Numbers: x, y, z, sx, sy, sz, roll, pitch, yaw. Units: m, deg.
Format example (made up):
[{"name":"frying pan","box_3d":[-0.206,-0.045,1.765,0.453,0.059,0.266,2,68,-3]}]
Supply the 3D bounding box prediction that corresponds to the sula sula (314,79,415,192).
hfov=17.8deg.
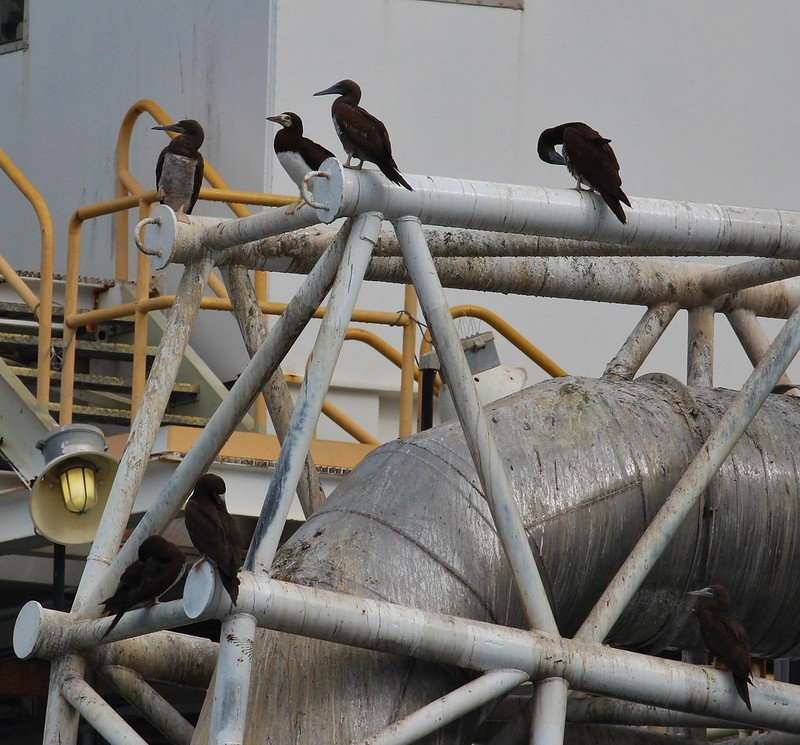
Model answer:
[{"name":"sula sula","box_3d":[-0.155,-1.154,12.166,0.597,0.452,0.215,14,-3,31]}]

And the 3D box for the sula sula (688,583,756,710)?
[{"name":"sula sula","box_3d":[1.499,1.270,11.863,0.317,0.591,0.245,-7,-15,31]}]

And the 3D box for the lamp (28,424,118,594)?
[{"name":"lamp","box_3d":[-1.744,0.714,13.860,0.501,0.593,0.627,9,-49,-20]}]

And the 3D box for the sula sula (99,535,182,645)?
[{"name":"sula sula","box_3d":[-1.139,0.938,11.671,0.453,0.272,0.255,-41,10,8]}]
